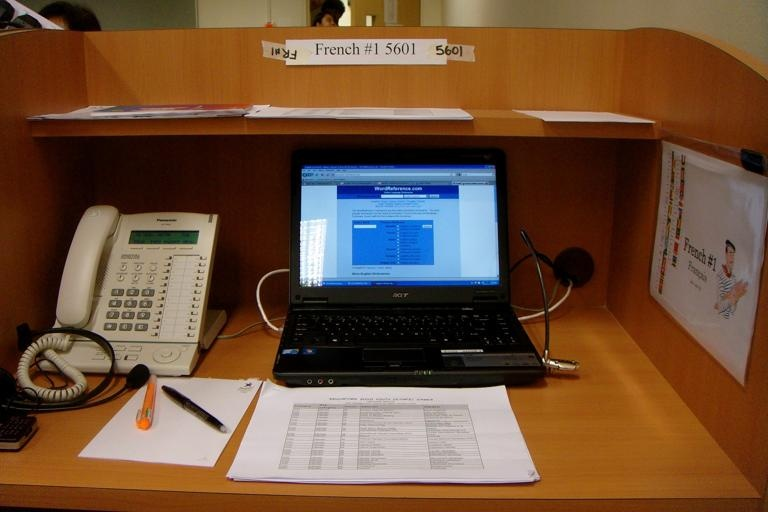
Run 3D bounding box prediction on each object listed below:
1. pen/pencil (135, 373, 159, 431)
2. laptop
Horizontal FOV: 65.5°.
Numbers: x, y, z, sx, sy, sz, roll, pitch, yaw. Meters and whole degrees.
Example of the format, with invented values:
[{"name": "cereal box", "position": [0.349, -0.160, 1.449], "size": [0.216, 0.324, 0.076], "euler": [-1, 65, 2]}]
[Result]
[{"name": "pen/pencil", "position": [-0.446, 0.274, 1.128], "size": [0.026, 0.017, 0.132], "euler": [-7, 32, -5]}, {"name": "laptop", "position": [0.043, 0.002, 1.196], "size": [0.506, 0.332, 0.433], "euler": [0, 21, -1]}]
